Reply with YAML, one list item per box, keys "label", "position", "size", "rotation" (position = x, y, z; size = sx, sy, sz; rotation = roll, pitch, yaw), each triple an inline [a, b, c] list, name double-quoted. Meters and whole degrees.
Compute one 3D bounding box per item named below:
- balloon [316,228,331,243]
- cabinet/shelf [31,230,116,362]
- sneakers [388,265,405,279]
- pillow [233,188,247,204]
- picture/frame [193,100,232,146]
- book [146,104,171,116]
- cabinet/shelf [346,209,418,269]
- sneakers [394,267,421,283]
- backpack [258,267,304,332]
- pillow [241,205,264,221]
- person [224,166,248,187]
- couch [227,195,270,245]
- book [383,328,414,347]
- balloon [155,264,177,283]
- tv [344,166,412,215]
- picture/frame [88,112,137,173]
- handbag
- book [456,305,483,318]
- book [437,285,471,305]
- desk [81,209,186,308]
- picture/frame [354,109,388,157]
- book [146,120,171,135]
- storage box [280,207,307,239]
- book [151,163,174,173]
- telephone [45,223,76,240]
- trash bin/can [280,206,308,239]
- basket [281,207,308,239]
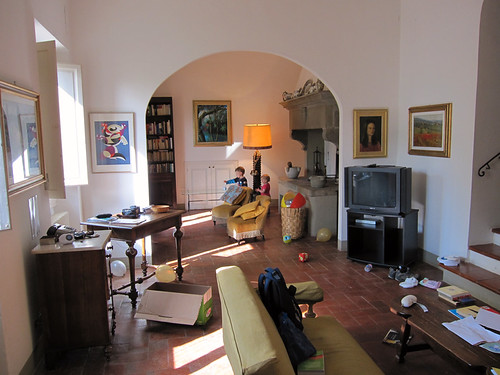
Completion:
- label: "balloon"
  position: [1.423, 0.927, 7.211]
  size: [0.274, 0.207, 0.208]
  rotation: [-40, -20, 2]
- label: "cabinet/shelf"
  position: [-1.889, 1.166, 4.491]
  size: [0.686, 1.224, 1.266]
  rotation: [-3, 6, -6]
- label: "sneakers"
  position: [2.229, 1.277, 5.628]
  size: [0.321, 0.142, 0.113]
  rotation: [-11, 11, -40]
- label: "pillow"
  position: [-0.188, 0.195, 8.241]
  size: [0.097, 0.323, 0.309]
  rotation: [18, 4, -46]
- label: "picture/frame"
  position: [-1.073, -1.824, 10.186]
  size: [1.151, 1.396, 0.057]
  rotation: [-2, 6, -10]
- label: "book"
  position: [-2.349, -2.027, 9.645]
  size: [0.615, 0.298, 0.112]
  rotation: [-3, 6, -9]
- label: "cabinet/shelf"
  position: [2.236, 0.881, 6.379]
  size: [0.827, 1.029, 1.061]
  rotation: [20, -15, -41]
- label: "sneakers"
  position: [2.367, 1.306, 5.527]
  size: [0.419, 0.193, 0.144]
  rotation: [2, -1, -23]
- label: "backpack"
  position: [0.287, 1.124, 3.467]
  size: [0.347, 0.617, 0.467]
  rotation: [-2, -13, 2]
- label: "pillow"
  position: [0.070, 0.503, 7.334]
  size: [0.442, 0.273, 0.094]
  rotation: [-2, 6, -8]
- label: "person"
  position: [-0.321, -0.253, 9.182]
  size: [0.475, 0.847, 0.516]
  rotation: [3, 9, -3]
- label: "couch"
  position: [0.235, 0.666, 7.623]
  size: [0.903, 0.930, 0.722]
  rotation: [3, -4, 30]
- label: "book"
  position: [1.629, 1.658, 4.084]
  size: [0.227, 0.034, 0.224]
  rotation: [-2, 16, 36]
- label: "balloon"
  position: [-1.147, 1.224, 5.180]
  size: [0.263, 0.216, 0.206]
  rotation: [27, 26, 29]
- label: "tv"
  position: [2.128, 0.005, 6.176]
  size: [1.046, 0.778, 0.587]
  rotation: [3, 11, 35]
- label: "picture/frame"
  position: [-2.181, -0.740, 5.822]
  size: [0.893, 1.317, 0.024]
  rotation: [-1, 9, -9]
- label: "handbag"
  position: [0.373, 1.251, 3.084]
  size: [0.117, 0.324, 0.331]
  rotation: [-34, 27, 23]
- label: "book"
  position: [2.264, 1.279, 3.834]
  size: [0.118, 0.029, 0.119]
  rotation: [-7, 8, -16]
- label: "book"
  position: [2.292, 1.222, 4.203]
  size: [0.226, 0.058, 0.235]
  rotation: [3, 8, 3]
- label: "desk"
  position: [-1.615, 0.944, 5.432]
  size: [0.825, 1.094, 1.285]
  rotation: [0, 6, 23]
- label: "picture/frame"
  position: [2.107, -0.996, 6.565]
  size: [0.778, 1.056, 0.107]
  rotation: [-1, 3, -14]
- label: "book"
  position: [-2.373, -1.571, 9.730]
  size: [0.623, 0.355, 0.123]
  rotation: [-3, 6, -13]
- label: "storage box"
  position: [0.884, 0.724, 7.474]
  size: [0.548, 0.635, 0.598]
  rotation: [0, 3, -3]
- label: "book"
  position: [-2.312, -0.518, 9.827]
  size: [0.677, 0.232, 0.310]
  rotation: [0, 2, -8]
- label: "telephone"
  position: [-2.061, 0.472, 4.038]
  size: [0.247, 0.113, 0.174]
  rotation: [2, 1, -21]
- label: "trash bin/can"
  position: [0.855, 0.721, 7.720]
  size: [0.557, 0.622, 0.598]
  rotation: [0, 3, -3]
- label: "basket"
  position: [0.884, 0.755, 7.678]
  size: [0.532, 0.581, 0.501]
  rotation: [-3, -7, -29]
